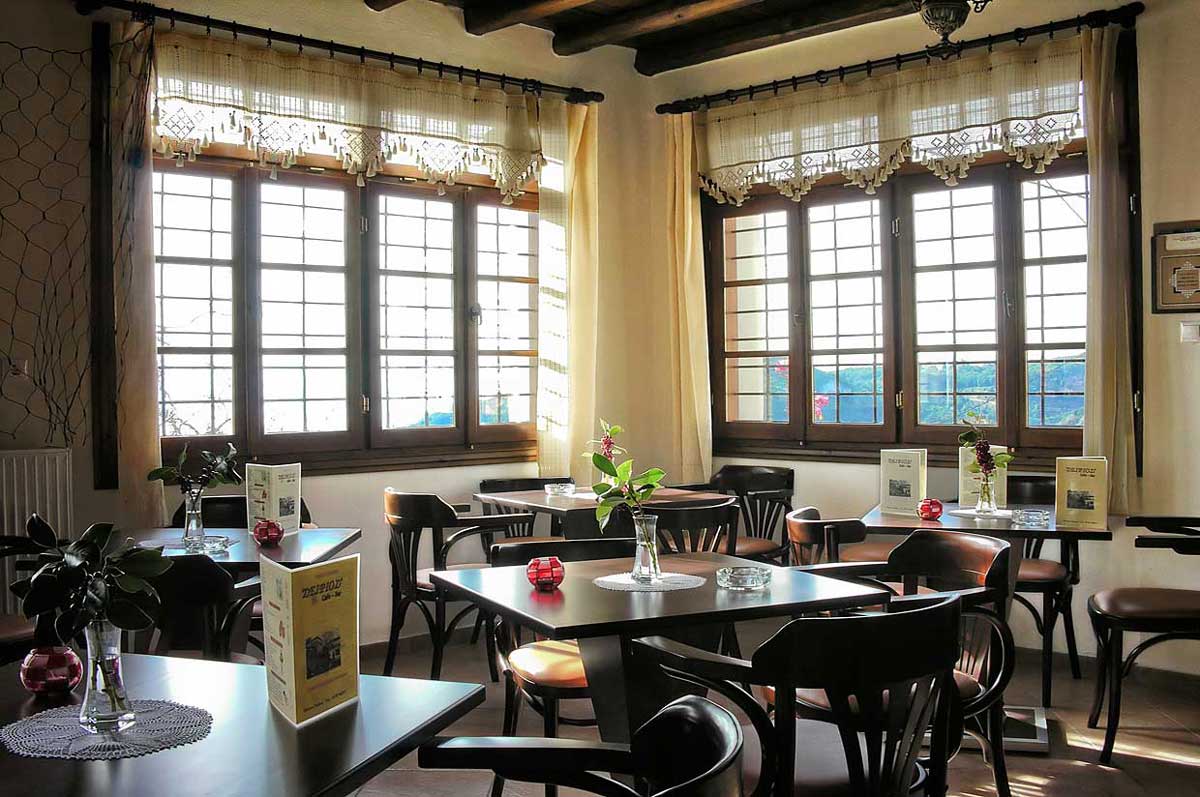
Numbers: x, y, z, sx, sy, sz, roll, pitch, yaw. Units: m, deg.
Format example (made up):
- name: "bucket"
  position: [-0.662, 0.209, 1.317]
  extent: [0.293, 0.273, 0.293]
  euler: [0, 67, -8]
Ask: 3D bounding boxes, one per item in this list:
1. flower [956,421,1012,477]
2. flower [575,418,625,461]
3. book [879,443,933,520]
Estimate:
- name: "flower"
  position: [1.934, 0.272, 4.806]
  extent: [0.228, 0.226, 0.217]
  euler: [-2, -3, 19]
- name: "flower"
  position: [0.018, 0.248, 5.591]
  extent: [0.258, 0.276, 0.279]
  euler: [3, -2, 10]
- name: "book"
  position: [1.603, 0.434, 4.992]
  extent: [0.302, 0.421, 0.305]
  euler: [2, 3, 27]
